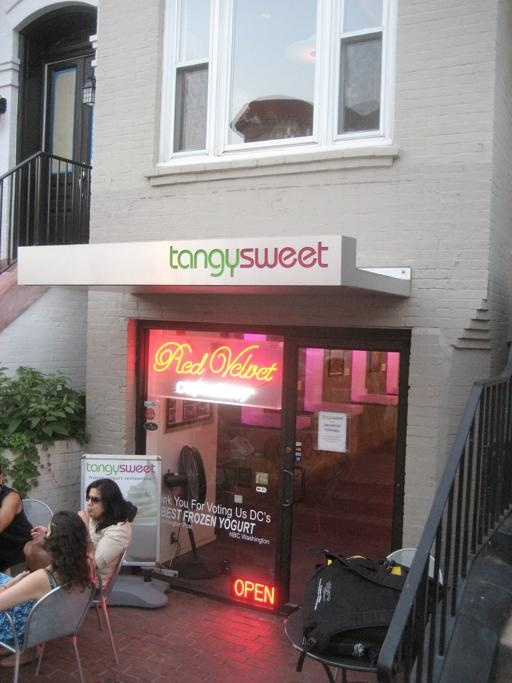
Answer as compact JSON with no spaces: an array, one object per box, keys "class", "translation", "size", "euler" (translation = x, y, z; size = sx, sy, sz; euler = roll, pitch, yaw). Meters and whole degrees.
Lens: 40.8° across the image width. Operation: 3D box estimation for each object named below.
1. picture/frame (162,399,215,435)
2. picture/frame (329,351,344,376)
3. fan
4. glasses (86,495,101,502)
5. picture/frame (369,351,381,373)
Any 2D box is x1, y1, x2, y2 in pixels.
[{"class":"picture/frame","translation":[-0.576,0.645,5.791],"size":[0.531,0.287,0.030],"euler":[3,2,38]},{"class":"picture/frame","translation":[0.584,0.168,5.082],"size":[0.031,0.182,0.164],"euler":[0,2,-41]},{"class":"fan","translation":[-0.558,1.456,5.792],"size":[0.527,1.133,0.083],"euler":[3,2,31]},{"class":"glasses","translation":[-1.186,1.161,5.017],"size":[0.065,0.038,0.081],"euler":[-3,-33,15]},{"class":"picture/frame","translation":[0.834,0.153,4.895],"size":[0.109,0.149,0.027],"euler":[3,2,29]}]
